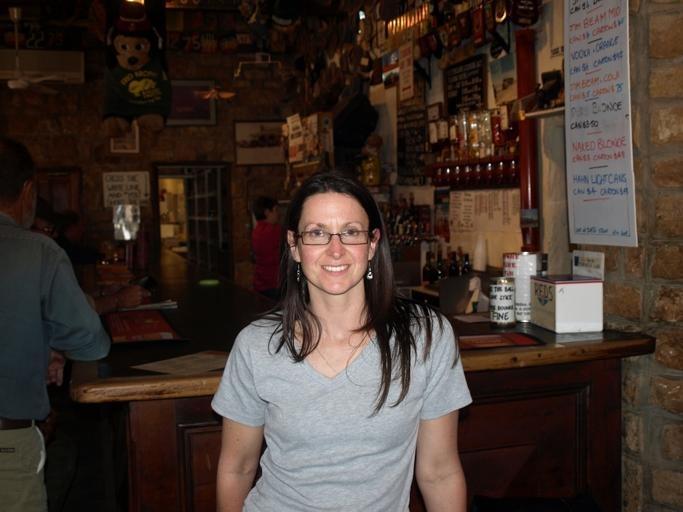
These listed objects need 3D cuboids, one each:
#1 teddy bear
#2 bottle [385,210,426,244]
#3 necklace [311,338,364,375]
[{"bbox_3d":[-2.079,-1.988,5.587,0.648,1.095,0.372,-2,2,-15],"label":"teddy bear"},{"bbox_3d":[0.648,-0.313,5.685,0.309,0.156,0.412,0,10,-6],"label":"bottle"},{"bbox_3d":[-0.021,0.315,1.721,0.088,0.119,0.025,44,-5,40],"label":"necklace"}]
